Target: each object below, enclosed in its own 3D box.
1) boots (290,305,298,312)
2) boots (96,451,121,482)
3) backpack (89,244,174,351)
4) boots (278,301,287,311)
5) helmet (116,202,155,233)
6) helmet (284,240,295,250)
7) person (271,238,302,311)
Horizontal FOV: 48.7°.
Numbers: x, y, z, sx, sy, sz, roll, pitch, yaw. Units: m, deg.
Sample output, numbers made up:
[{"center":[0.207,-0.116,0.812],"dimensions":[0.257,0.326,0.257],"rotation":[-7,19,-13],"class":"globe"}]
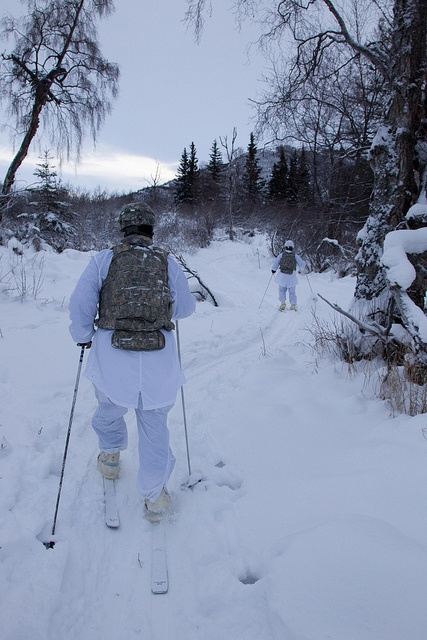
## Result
[{"center":[1.564,-0.228,9.201],"dimensions":[0.114,0.215,0.124],"rotation":[4,0,24],"class":"boots"},{"center":[-0.762,1.068,3.455],"dimensions":[0.091,0.119,0.264],"rotation":[7,16,-16],"class":"boots"},{"center":[-0.500,-0.172,2.929],"dimensions":[0.454,0.686,0.328],"rotation":[-1,12,-14],"class":"backpack"},{"center":[1.343,-0.282,9.204],"dimensions":[0.071,0.236,0.157],"rotation":[4,21,2],"class":"boots"},{"center":[-0.508,-0.664,3.086],"dimensions":[0.187,0.175,0.215],"rotation":[10,21,28],"class":"helmet"},{"center":[1.564,-1.518,9.515],"dimensions":[0.221,0.255,0.172],"rotation":[-9,17,-8],"class":"helmet"},{"center":[1.482,-0.919,9.509],"dimensions":[0.608,1.308,0.994],"rotation":[4,12,8],"class":"person"}]
